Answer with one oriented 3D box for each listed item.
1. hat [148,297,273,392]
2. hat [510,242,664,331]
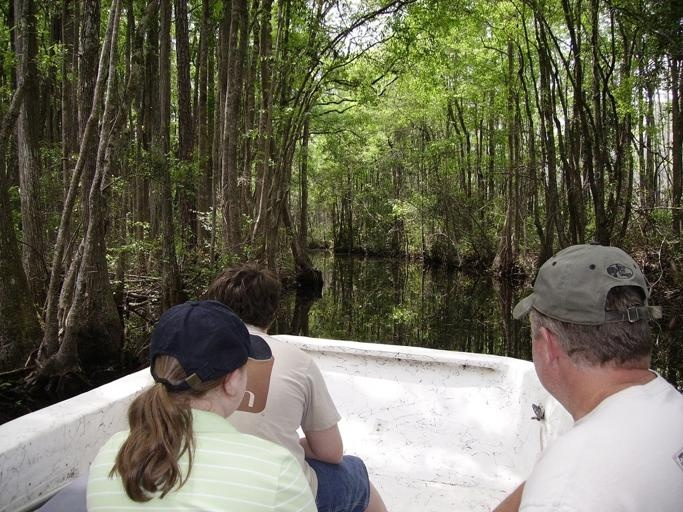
[{"bbox_3d":[-0.798,0.453,3.464,0.399,0.389,0.560,14,20,38],"label":"hat"},{"bbox_3d":[1.452,0.166,3.456,0.429,0.402,0.642,-1,5,-22],"label":"hat"}]
